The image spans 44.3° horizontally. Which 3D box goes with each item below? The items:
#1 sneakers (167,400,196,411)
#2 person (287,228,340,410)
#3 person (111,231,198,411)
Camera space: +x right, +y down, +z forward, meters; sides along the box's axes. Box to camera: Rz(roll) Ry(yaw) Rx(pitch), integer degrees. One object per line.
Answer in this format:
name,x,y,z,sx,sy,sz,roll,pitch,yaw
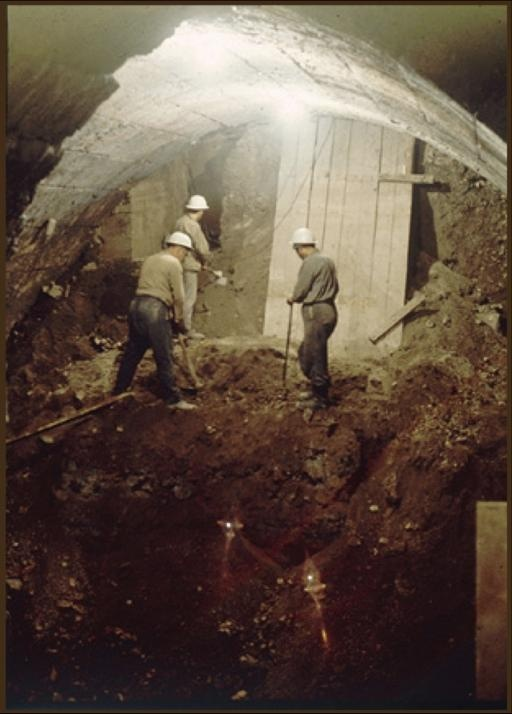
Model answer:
sneakers,-0.413,0.270,3.478,0.157,0.060,0.071,-1,-9,15
person,0.316,-0.220,3.463,0.270,0.933,0.243,4,11,7
person,-0.544,-0.220,3.556,0.479,0.955,0.354,3,11,2
